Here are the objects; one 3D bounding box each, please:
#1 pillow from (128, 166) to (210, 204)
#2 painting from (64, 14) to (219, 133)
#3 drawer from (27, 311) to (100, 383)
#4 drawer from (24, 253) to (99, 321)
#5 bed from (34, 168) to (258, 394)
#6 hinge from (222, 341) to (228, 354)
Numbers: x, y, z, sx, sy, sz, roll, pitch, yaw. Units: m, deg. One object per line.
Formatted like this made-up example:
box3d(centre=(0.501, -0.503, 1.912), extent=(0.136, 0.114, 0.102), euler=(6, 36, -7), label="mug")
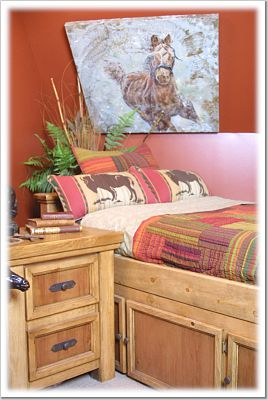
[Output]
box3d(centre=(0.262, -0.115, 2.263), extent=(0.701, 0.291, 0.283), euler=(-14, 15, -39), label="pillow")
box3d(centre=(0.104, -1.106, 2.768), extent=(1.074, 0.771, 0.024), euler=(3, 20, 19), label="painting")
box3d(centre=(-0.240, 0.619, 1.318), extent=(0.328, 0.189, 0.198), euler=(-22, 50, 12), label="drawer")
box3d(centre=(-0.319, 0.326, 1.322), extent=(0.357, 0.213, 0.194), euler=(-3, 4, -41), label="drawer")
box3d(centre=(0.217, 0.230, 1.602), extent=(0.874, 0.732, 1.168), euler=(-8, 11, -41), label="bed")
box3d(centre=(0.302, 0.488, 1.067), extent=(0.020, 0.038, 0.016), euler=(5, 15, 38), label="hinge")
